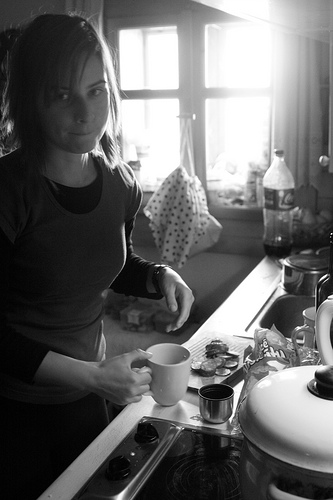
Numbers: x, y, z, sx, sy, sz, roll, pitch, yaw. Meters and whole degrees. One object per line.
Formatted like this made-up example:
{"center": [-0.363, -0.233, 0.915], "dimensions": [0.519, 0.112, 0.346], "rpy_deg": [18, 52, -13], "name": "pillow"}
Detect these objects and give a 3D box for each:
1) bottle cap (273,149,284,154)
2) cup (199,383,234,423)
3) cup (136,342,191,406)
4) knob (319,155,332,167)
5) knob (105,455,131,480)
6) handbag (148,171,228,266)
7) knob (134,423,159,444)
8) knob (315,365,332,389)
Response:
{"center": [0.539, -0.464, 1.890], "dimensions": [0.042, 0.028, 0.045], "rpy_deg": [0, 8, 2], "name": "bottle cap"}
{"center": [0.083, 0.267, 0.692], "dimensions": [0.056, 0.049, 0.056], "rpy_deg": [1, 5, 0], "name": "cup"}
{"center": [-0.003, 0.239, 0.726], "dimensions": [0.103, 0.106, 0.106], "rpy_deg": [-6, 5, 1], "name": "cup"}
{"center": [0.481, -0.266, 1.210], "dimensions": [0.039, 0.035, 0.022], "rpy_deg": [1, -29, 18], "name": "knob"}
{"center": [-0.063, 0.288, 0.527], "dimensions": [0.033, 0.011, 0.036], "rpy_deg": [-10, 6, -29], "name": "knob"}
{"center": [0.108, -0.187, 2.337], "dimensions": [0.390, 0.532, 0.239], "rpy_deg": [10, 13, -9], "name": "handbag"}
{"center": [-0.031, 0.278, 0.608], "dimensions": [0.021, 0.015, 0.021], "rpy_deg": [1, -3, -38], "name": "knob"}
{"center": [0.145, 0.118, 0.367], "dimensions": [0.014, 0.008, 0.014], "rpy_deg": [4, 15, 36], "name": "knob"}
